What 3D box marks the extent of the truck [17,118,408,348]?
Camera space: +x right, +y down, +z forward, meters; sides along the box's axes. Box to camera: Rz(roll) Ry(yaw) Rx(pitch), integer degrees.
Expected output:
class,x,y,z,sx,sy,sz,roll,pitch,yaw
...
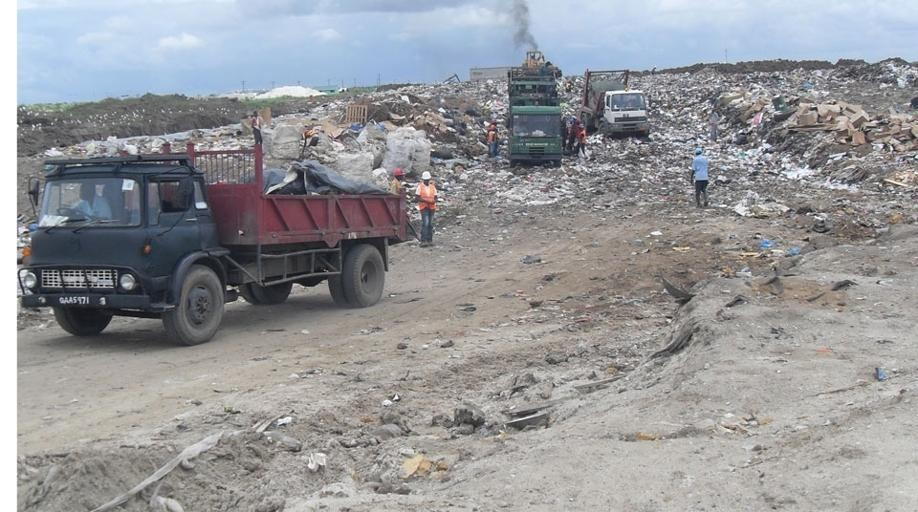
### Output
class,x,y,z,sx,sy,sz,roll,pitch,yaw
truck,-4.666,-0.379,14.619,3.702,3.206,7.960,-1,2,33

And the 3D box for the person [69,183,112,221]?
class,x,y,z,sx,sy,sz,roll,pitch,yaw
person,-6.592,-0.952,11.850,0.827,0.616,0.401,0,-9,1

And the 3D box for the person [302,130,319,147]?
class,x,y,z,sx,sy,sz,roll,pitch,yaw
person,-5.674,-4.486,25.215,0.532,0.592,0.872,-3,7,-29

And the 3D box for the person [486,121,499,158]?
class,x,y,z,sx,sy,sz,roll,pitch,yaw
person,1.500,-5.169,29.530,0.466,1.540,1.386,-6,9,0

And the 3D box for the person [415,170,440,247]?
class,x,y,z,sx,sy,sz,roll,pitch,yaw
person,-0.951,-1.372,19.328,0.569,2.118,0.753,-6,10,-4

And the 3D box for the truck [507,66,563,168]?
class,x,y,z,sx,sy,sz,roll,pitch,yaw
truck,3.332,-6.224,29.259,2.349,4.541,5.068,-4,8,7

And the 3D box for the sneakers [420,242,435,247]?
class,x,y,z,sx,sy,sz,roll,pitch,yaw
sneakers,-0.940,-0.340,19.403,0.197,0.084,0.236,-3,0,-22
